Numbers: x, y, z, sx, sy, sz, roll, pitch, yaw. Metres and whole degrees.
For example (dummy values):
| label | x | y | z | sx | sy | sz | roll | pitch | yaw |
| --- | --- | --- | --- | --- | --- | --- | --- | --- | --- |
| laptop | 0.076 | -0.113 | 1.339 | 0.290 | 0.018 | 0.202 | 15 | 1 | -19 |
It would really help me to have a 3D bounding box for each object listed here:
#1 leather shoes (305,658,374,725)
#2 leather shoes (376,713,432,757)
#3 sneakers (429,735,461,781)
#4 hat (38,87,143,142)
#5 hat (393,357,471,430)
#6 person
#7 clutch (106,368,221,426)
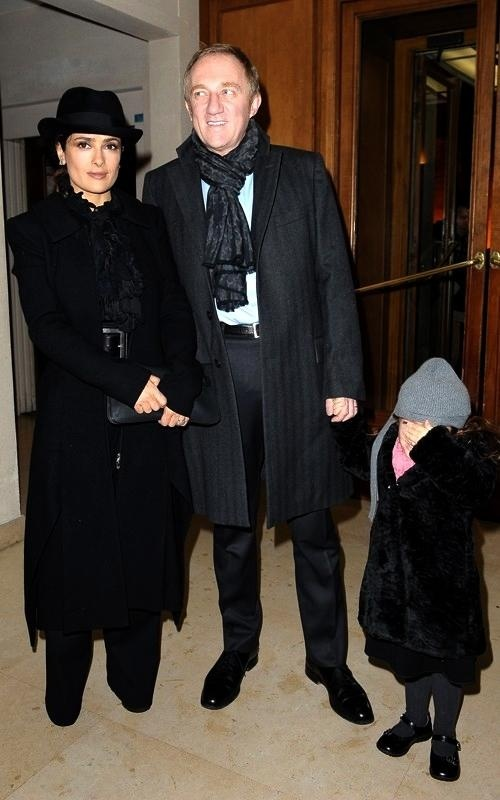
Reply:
| label | x | y | z | sx | sy | sz | roll | pitch | yaw |
| --- | --- | --- | --- | --- | --- | --- | --- | --- | --- |
| leather shoes | 0.239 | 0.756 | 1.703 | 0.067 | 0.081 | 0.197 | -4 | 11 | -20 |
| leather shoes | 0.345 | 0.763 | 1.505 | 0.141 | 0.067 | 0.062 | -2 | 8 | -27 |
| sneakers | 0.425 | 0.771 | 1.395 | 0.045 | 0.041 | 0.116 | 0 | 3 | 10 |
| hat | -0.362 | -0.647 | 1.463 | 0.227 | 0.120 | 0.130 | -1 | 5 | -15 |
| hat | 0.378 | -0.015 | 1.373 | 0.145 | 0.144 | 0.119 | 5 | 7 | 42 |
| person | 0.131 | -0.006 | 1.570 | 0.844 | 1.647 | 0.445 | 2 | 5 | 20 |
| clutch | -0.182 | 0.002 | 1.455 | 0.140 | 0.043 | 0.144 | -2 | 38 | -17 |
